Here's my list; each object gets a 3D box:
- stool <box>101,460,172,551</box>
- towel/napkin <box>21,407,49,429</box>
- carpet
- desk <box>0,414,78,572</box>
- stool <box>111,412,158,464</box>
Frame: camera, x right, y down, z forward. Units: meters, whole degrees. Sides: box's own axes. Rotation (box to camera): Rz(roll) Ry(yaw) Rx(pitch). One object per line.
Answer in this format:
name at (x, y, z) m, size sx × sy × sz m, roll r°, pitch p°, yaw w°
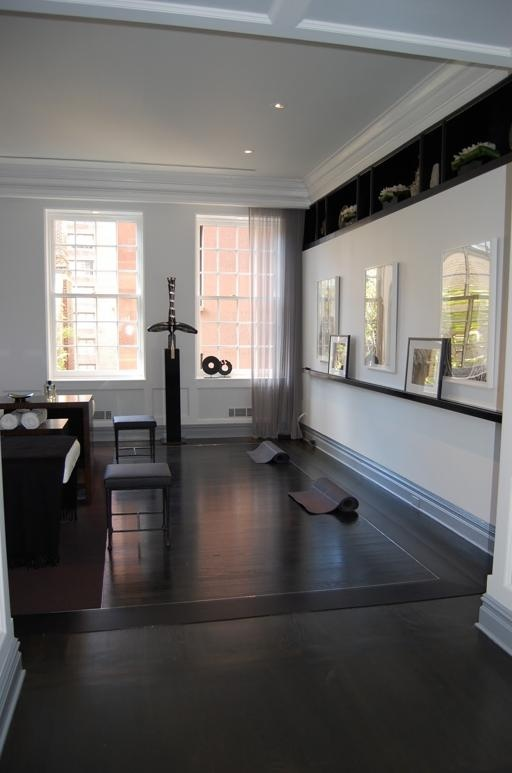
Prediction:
stool at (-0.823, 0.861, 3.886) m, size 0.435 × 0.660 × 0.550 m, roll -2°, pitch 5°, yaw -18°
towel/napkin at (-1.612, 0.232, 4.047) m, size 0.137 × 0.144 × 0.201 m, roll 4°, pitch 3°, yaw -2°
carpet at (-0.150, 1.019, 4.314) m, size 2.899 × 0.090 × 3.302 m, roll 0°, pitch 3°, yaw -10°
desk at (-1.389, 0.709, 3.609) m, size 0.426 × 0.759 × 0.793 m, roll -1°, pitch 3°, yaw -17°
stool at (-1.363, 0.572, 6.263) m, size 0.559 × 0.653 × 0.558 m, roll 0°, pitch 3°, yaw -12°
